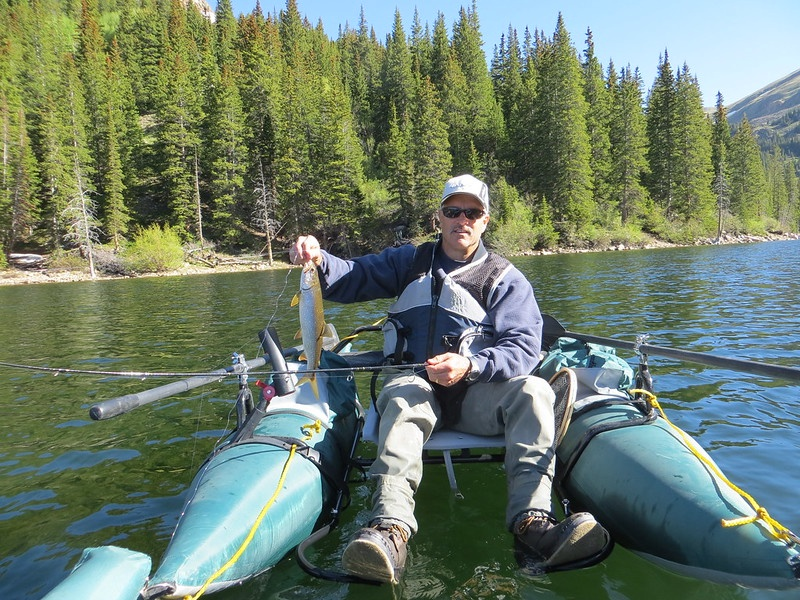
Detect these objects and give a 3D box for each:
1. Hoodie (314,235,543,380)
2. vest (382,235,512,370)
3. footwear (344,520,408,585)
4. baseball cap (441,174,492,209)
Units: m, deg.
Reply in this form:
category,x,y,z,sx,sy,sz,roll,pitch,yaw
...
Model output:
category,x,y,z,sx,sy,sz,roll,pitch,yaw
Hoodie,0.186,0.064,4.352,1.829,0.881,0.973,11,19,22
vest,0.354,0.046,4.188,0.957,0.945,0.583,10,-17,35
footwear,-0.103,1.425,3.354,0.295,0.280,0.614,23,-17,17
baseball cap,0.513,-0.831,4.412,0.381,0.246,0.497,5,-3,14
